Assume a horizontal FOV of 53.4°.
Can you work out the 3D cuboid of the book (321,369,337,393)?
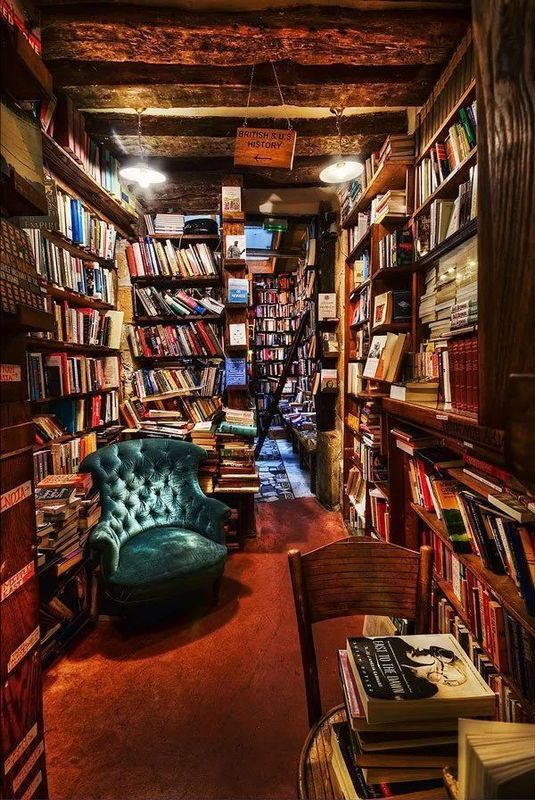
[{"bbox_3d":[0.480,-0.137,4.274,0.182,0.184,0.136,0,-4,-3],"label":"book"}]

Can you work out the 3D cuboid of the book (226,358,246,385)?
[{"bbox_3d":[-0.233,-0.191,3.834,0.154,0.207,0.070,0,5,-4],"label":"book"}]

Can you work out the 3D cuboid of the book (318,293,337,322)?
[{"bbox_3d":[0.475,-0.726,4.232,0.179,0.276,0.189,-1,-1,1],"label":"book"}]

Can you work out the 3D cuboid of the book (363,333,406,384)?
[{"bbox_3d":[0.590,-0.203,2.643,0.049,0.189,0.299,16,7,-3],"label":"book"}]

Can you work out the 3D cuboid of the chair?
[{"bbox_3d":[0.267,0.619,1.548,0.414,0.673,0.410,2,17,19],"label":"chair"}]

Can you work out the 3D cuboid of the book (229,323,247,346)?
[{"bbox_3d":[-0.214,-0.459,3.759,0.145,0.214,0.104,-1,-2,-2],"label":"book"}]

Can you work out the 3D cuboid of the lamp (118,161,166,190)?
[{"bbox_3d":[-0.829,-1.467,3.463,0.287,0.153,0.299,10,12,17],"label":"lamp"}]

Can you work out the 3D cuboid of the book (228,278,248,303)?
[{"bbox_3d":[-0.212,-0.746,3.659,0.121,0.179,0.093,4,19,0],"label":"book"}]

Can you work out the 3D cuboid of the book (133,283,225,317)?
[{"bbox_3d":[-0.647,-0.714,3.941,0.644,0.212,0.179,0,5,-2],"label":"book"}]

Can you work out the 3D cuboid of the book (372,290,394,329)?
[{"bbox_3d":[0.582,-0.462,2.703,0.039,0.159,0.150,6,-17,-14],"label":"book"}]
